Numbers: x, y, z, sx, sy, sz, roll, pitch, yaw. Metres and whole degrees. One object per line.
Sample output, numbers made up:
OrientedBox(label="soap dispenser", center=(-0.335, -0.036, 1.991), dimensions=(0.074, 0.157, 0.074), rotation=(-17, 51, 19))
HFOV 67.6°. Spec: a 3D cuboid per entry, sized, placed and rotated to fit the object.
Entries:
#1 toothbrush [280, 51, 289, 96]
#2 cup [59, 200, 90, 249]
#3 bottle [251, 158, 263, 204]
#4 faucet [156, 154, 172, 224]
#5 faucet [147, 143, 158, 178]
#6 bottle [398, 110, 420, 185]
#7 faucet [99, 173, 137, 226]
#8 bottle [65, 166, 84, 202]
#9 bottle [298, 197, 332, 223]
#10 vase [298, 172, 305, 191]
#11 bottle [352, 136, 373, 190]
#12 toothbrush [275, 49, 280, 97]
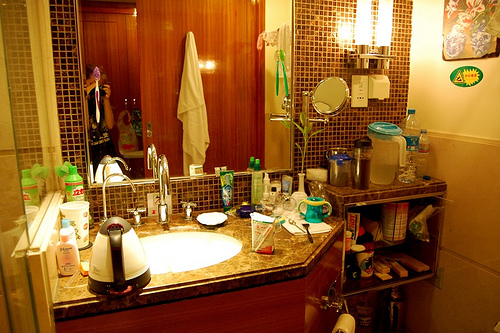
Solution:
OrientedBox(label="toothbrush", center=(0.212, -0.575, 2.306), dimensions=(0.045, 0.270, 0.017), rotation=(-14, 14, -42))
OrientedBox(label="cup", center=(-0.868, 0.288, 1.880), dimensions=(0.128, 0.228, 0.161), rotation=(-8, 11, -16))
OrientedBox(label="bottle", center=(0.041, 0.089, 2.295), dimensions=(0.074, 0.270, 0.148), rotation=(-3, 10, 10))
OrientedBox(label="faucet", center=(-0.480, 0.125, 2.080), dimensions=(0.082, 0.388, 0.177), rotation=(-5, 6, -28))
OrientedBox(label="faucet", center=(-0.554, -0.030, 2.117), dimensions=(0.057, 0.201, 0.108), rotation=(-8, 11, -16))
OrientedBox(label="bottle", center=(1.065, -0.155, 2.521), dimensions=(0.148, 0.471, 0.151), rotation=(1, 5, 0))
OrientedBox(label="faucet", center=(-0.706, 0.190, 2.045), dimensions=(0.159, 0.290, 0.226), rotation=(1, 14, -22))
OrientedBox(label="bottle", center=(-0.920, 0.091, 1.930), dimensions=(0.096, 0.184, 0.099), rotation=(-5, 10, 1))
OrientedBox(label="bottle", center=(0.362, 0.245, 2.101), dimensions=(0.171, 0.123, 0.110), rotation=(4, 20, 11))
OrientedBox(label="vase", center=(0.313, 0.095, 2.298), dimensions=(0.043, 0.101, 0.048), rotation=(-9, 11, -23))
OrientedBox(label="bottle", center=(0.682, -0.029, 2.279), dimensions=(0.138, 0.311, 0.140), rotation=(1, 9, 0))
OrientedBox(label="toothbrush", center=(0.172, -0.576, 2.293), dimensions=(0.024, 0.273, 0.038), rotation=(3, 13, 36))
